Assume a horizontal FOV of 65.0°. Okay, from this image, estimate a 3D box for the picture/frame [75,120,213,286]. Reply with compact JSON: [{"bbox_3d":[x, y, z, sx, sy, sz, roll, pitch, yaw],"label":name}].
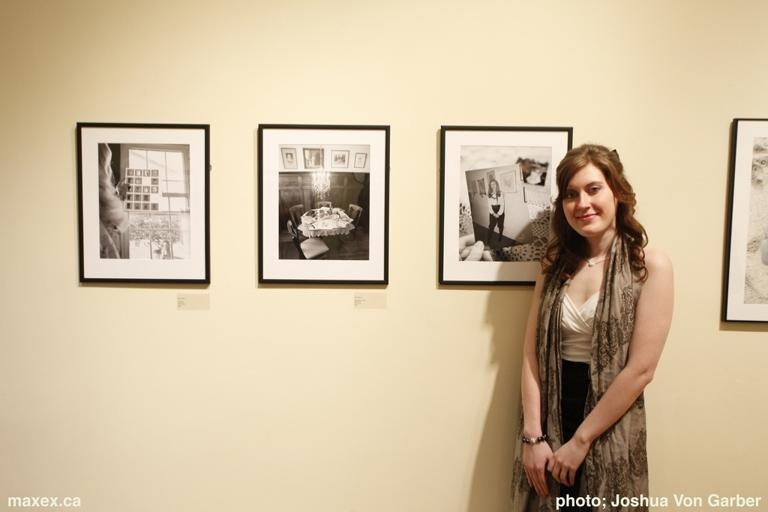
[{"bbox_3d":[-1.244,-0.312,3.104,0.845,1.002,0.039,1,5,2],"label":"picture/frame"}]
